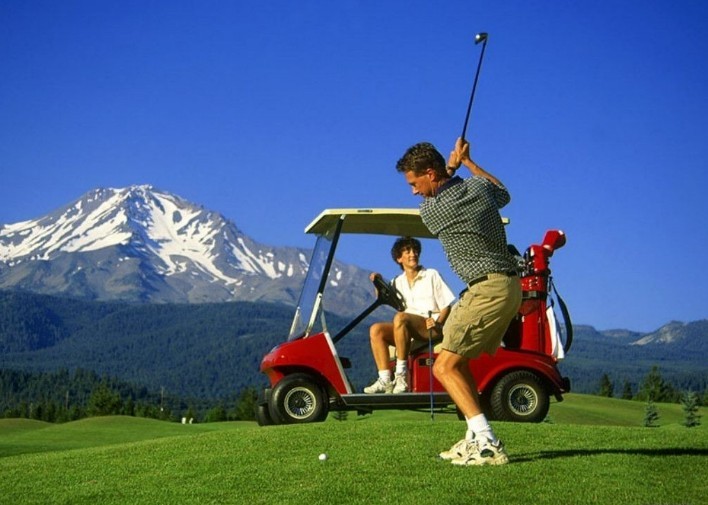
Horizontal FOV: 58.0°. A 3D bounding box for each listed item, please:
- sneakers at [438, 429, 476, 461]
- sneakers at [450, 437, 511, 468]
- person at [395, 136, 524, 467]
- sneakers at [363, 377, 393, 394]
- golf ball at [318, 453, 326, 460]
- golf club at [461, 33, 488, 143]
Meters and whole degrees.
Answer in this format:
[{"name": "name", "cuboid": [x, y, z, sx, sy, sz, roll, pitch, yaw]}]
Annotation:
[{"name": "sneakers", "cuboid": [0.992, 1.808, 5.920, 0.374, 0.253, 0.136, -9, -22, 30]}, {"name": "sneakers", "cuboid": [1.153, 1.781, 5.742, 0.553, 0.276, 0.220, -1, -8, 0]}, {"name": "person", "cuboid": [1.044, 0.309, 5.902, 1.058, 3.167, 0.742, 0, -14, -1]}, {"name": "sneakers", "cuboid": [0.357, 1.957, 9.369, 0.423, 0.213, 0.186, 2, -10, 6]}, {"name": "golf ball", "cuboid": [-0.298, 2.004, 6.271, 0.057, 0.041, 0.063, 0, -1, 0]}, {"name": "golf club", "cuboid": [1.280, -1.748, 6.865, 0.167, 1.171, 0.193, 4, 27, -10]}]
